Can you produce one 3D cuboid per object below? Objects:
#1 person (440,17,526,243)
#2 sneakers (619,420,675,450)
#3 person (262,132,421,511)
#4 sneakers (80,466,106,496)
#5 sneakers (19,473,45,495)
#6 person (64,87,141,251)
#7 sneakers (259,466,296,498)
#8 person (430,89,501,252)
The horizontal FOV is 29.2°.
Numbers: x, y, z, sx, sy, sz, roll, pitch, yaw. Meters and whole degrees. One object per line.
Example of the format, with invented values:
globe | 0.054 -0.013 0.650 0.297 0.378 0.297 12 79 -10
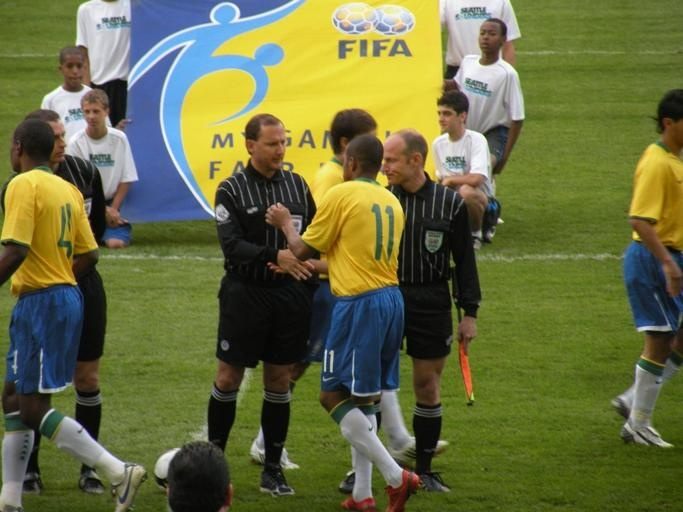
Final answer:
person | 1.660 -1.432 15.999 1.146 2.823 1.145 7 4 42
sneakers | 2.731 1.615 11.798 0.522 0.207 0.180 12 -5 7
person | 0.142 0.568 10.970 1.166 3.130 0.625 2 6 8
sneakers | -2.155 1.924 11.216 0.154 0.264 0.285 7 -18 -39
sneakers | -2.629 1.928 11.089 0.153 0.189 0.457 7 -13 -23
person | -2.930 -0.991 15.474 1.126 1.759 1.015 -8 17 -27
sneakers | -0.556 1.931 11.236 0.158 0.177 0.399 0 1 -39
person | 1.310 -0.972 15.184 1.054 1.780 1.046 -5 7 -20
